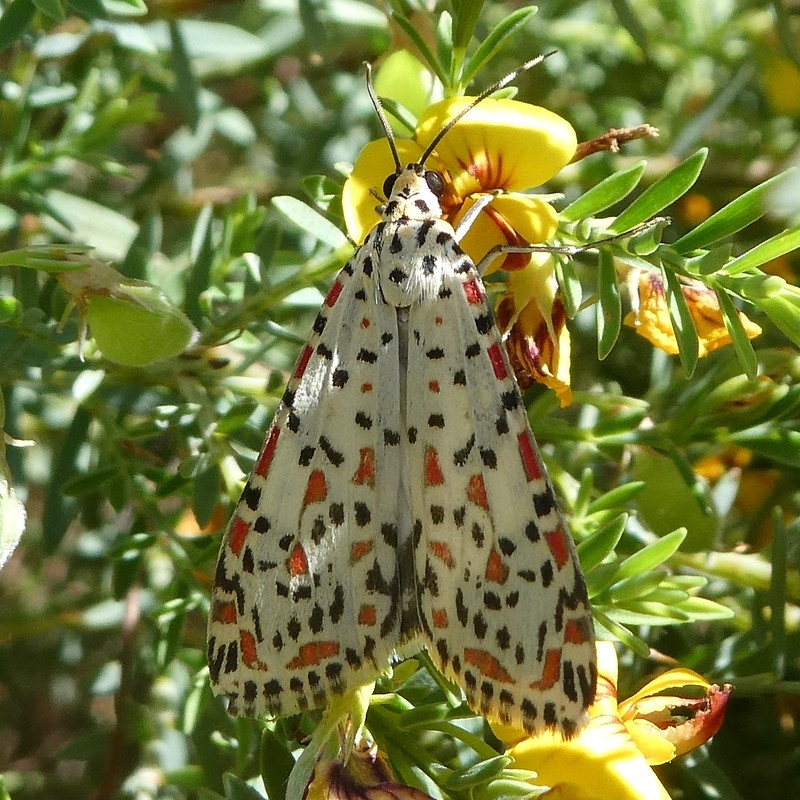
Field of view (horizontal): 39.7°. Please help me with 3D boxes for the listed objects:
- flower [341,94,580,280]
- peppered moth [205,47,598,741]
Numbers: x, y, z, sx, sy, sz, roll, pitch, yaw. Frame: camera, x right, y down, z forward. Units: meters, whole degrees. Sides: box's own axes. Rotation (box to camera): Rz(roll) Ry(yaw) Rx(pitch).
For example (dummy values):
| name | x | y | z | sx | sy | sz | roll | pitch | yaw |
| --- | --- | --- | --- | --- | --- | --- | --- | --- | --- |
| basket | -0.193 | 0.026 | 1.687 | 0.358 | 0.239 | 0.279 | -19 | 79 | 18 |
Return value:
| name | x | y | z | sx | sy | sz | roll | pitch | yaw |
| --- | --- | --- | --- | --- | --- | --- | --- | --- | --- |
| flower | 0.102 | -0.252 | 1.201 | 0.233 | 0.196 | 0.277 | 7 | 24 | 18 |
| peppered moth | 0.023 | -0.002 | 1.157 | 0.418 | 0.656 | 0.228 | -3 | -9 | 19 |
